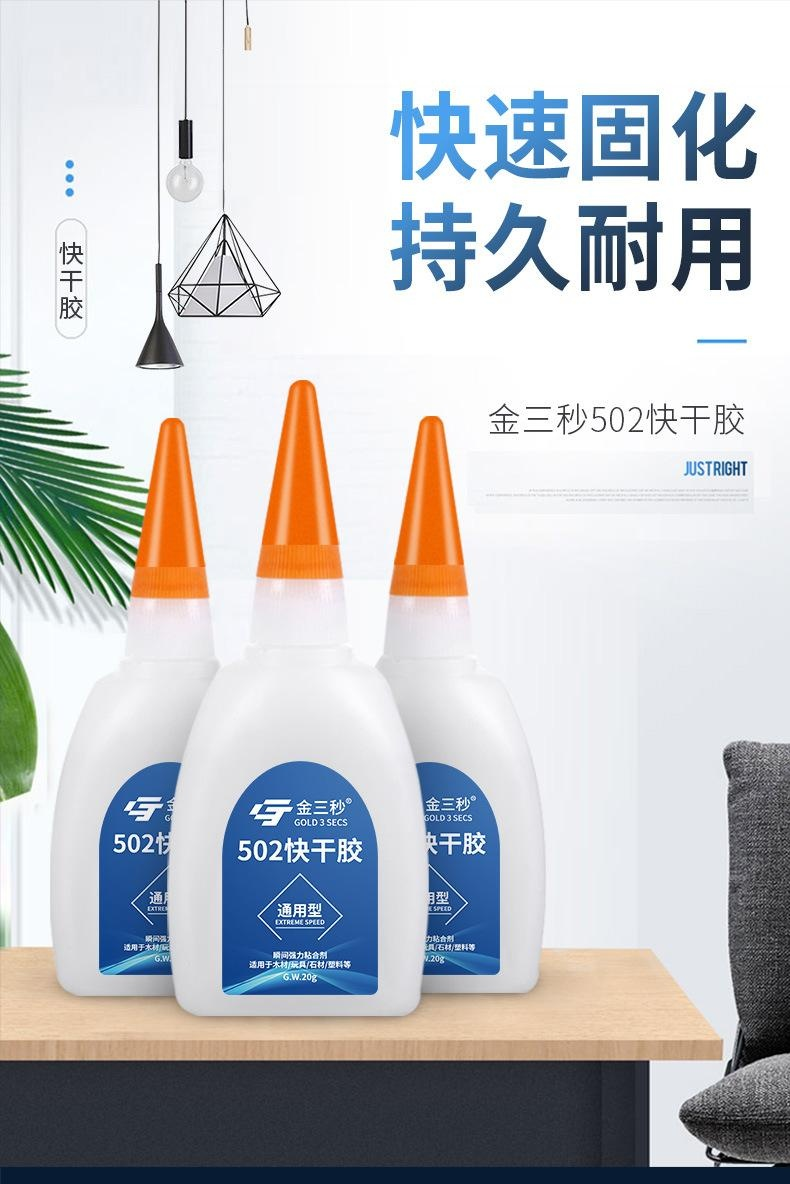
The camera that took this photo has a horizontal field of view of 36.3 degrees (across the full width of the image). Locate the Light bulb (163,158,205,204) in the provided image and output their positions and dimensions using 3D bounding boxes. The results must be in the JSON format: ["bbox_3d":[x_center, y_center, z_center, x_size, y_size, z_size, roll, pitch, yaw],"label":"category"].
[{"bbox_3d":[-0.265,-0.517,1.521,0.052,0.081,0.056,0,-3,-4],"label":"Light bulb"}]
